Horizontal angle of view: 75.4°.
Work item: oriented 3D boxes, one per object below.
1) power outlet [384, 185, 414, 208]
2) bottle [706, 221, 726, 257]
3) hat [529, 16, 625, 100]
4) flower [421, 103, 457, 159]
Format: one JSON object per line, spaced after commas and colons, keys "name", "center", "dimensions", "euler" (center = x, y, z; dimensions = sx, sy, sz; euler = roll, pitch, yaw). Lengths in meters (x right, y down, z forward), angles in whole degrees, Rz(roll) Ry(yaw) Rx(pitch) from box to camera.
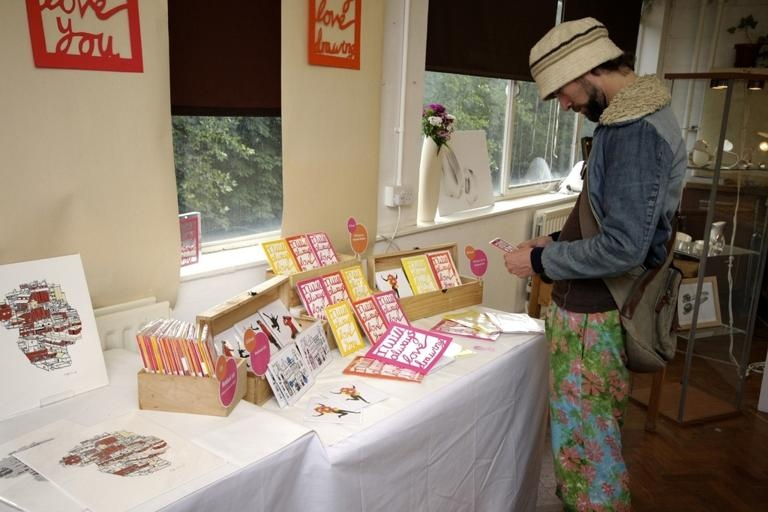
{"name": "power outlet", "center": [0.093, -0.393, 3.258], "dimensions": [0.206, 0.155, 0.059], "euler": [-15, 17, -36]}
{"name": "bottle", "center": [2.169, -0.118, 3.233], "dimensions": [0.169, 0.226, 0.021], "euler": [-12, 15, -27]}
{"name": "hat", "center": [0.743, -0.805, 2.009], "dimensions": [0.323, 0.202, 0.321], "euler": [-42, 7, -27]}
{"name": "flower", "center": [0.394, -0.882, 3.500], "dimensions": [0.307, 0.408, 0.315], "euler": [1, 13, 11]}
